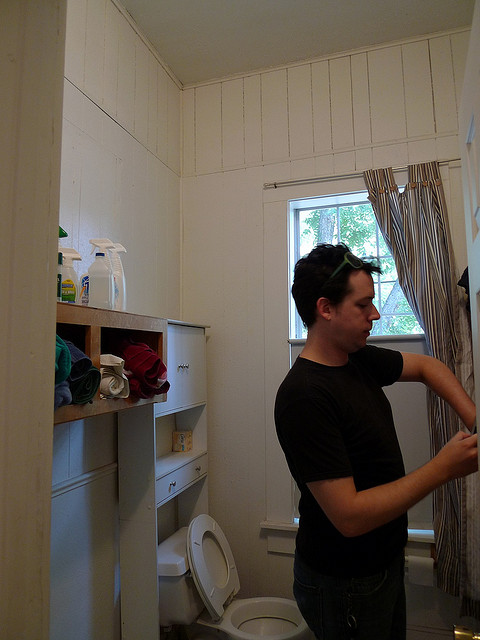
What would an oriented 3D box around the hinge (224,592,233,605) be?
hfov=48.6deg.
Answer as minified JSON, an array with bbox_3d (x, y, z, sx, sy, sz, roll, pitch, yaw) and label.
[{"bbox_3d":[-0.044,1.140,2.172,0.010,0.033,0.071,-3,-2,23],"label":"hinge"}]

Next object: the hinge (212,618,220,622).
[{"bbox_3d":[-0.093,1.143,2.026,0.027,0.009,0.032,-7,-30,11],"label":"hinge"}]

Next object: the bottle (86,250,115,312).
[{"bbox_3d":[-0.412,-0.117,1.572,0.087,0.172,0.054,-1,-2,-29],"label":"bottle"}]

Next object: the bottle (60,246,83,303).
[{"bbox_3d":[-0.469,-0.108,1.434,0.061,0.170,0.052,-1,-17,-10],"label":"bottle"}]
